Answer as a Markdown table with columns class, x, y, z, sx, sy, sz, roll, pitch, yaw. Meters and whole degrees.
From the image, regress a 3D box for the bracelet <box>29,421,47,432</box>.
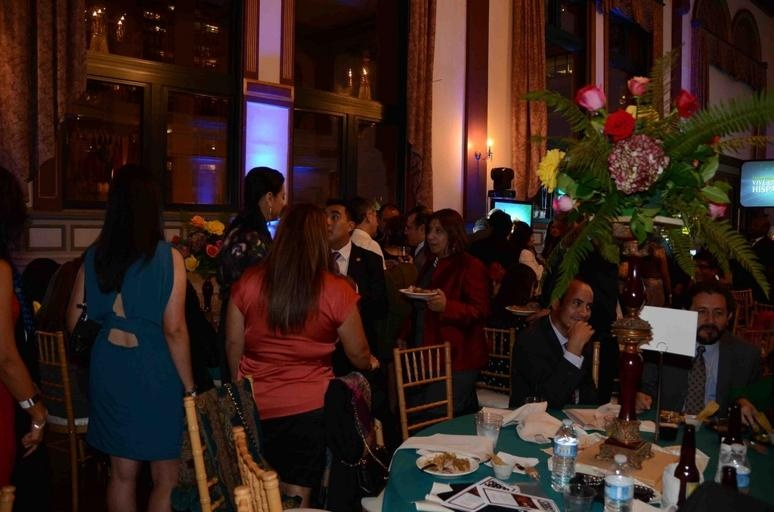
| class | x | y | z | sx | sy | sz | roll | pitch | yaw |
| --- | --- | --- | --- | --- | --- | --- | --- | --- | --- |
| bracelet | -1.790 | 0.866 | 3.073 | 0.050 | 0.039 | 0.052 | -6 | -7 | -9 |

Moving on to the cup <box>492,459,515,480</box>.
| class | x | y | z | sx | sy | sz | roll | pitch | yaw |
| --- | --- | --- | --- | --- | --- | --- | --- | --- | --- |
| cup | 0.528 | 0.956 | 2.734 | 0.082 | 0.060 | 0.081 | 2 | 1 | 0 |

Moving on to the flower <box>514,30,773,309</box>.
| class | x | y | z | sx | sy | sz | roll | pitch | yaw |
| --- | --- | --- | --- | --- | --- | --- | --- | --- | --- |
| flower | 1.201 | -0.382 | 2.737 | 1.055 | 0.966 | 0.419 | -1 | -1 | 8 |

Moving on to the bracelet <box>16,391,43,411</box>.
| class | x | y | z | sx | sy | sz | roll | pitch | yaw |
| --- | --- | --- | --- | --- | --- | --- | --- | --- | --- |
| bracelet | -1.820 | 0.726 | 3.051 | 0.093 | 0.038 | 0.091 | -26 | 2 | -12 |

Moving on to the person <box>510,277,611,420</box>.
| class | x | y | z | sx | sy | sz | roll | pitch | yaw |
| --- | --- | --- | --- | --- | --- | --- | --- | --- | --- |
| person | 1.106 | 0.595 | 3.725 | 0.504 | 1.224 | 0.472 | 11 | 24 | 42 |

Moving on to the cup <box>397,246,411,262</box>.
| class | x | y | z | sx | sy | sz | roll | pitch | yaw |
| --- | --- | --- | --- | --- | --- | --- | --- | --- | --- |
| cup | 0.181 | -0.023 | 6.488 | 0.187 | 0.191 | 0.347 | 5 | -3 | 5 |

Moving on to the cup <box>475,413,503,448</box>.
| class | x | y | z | sx | sy | sz | roll | pitch | yaw |
| --- | --- | --- | --- | --- | --- | --- | --- | --- | --- |
| cup | 0.495 | 0.865 | 3.026 | 0.145 | 0.156 | 0.137 | 2 | -1 | 0 |

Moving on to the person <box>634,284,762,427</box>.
| class | x | y | z | sx | sy | sz | roll | pitch | yaw |
| --- | --- | --- | --- | --- | --- | --- | --- | --- | --- |
| person | 1.714 | 0.566 | 3.346 | 0.625 | 0.891 | 0.516 | 6 | -6 | 31 |

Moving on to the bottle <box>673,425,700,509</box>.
| class | x | y | z | sx | sy | sz | roll | pitch | yaw |
| --- | --- | --- | --- | --- | --- | --- | --- | --- | --- |
| bottle | 1.224 | 0.834 | 2.442 | 0.095 | 0.303 | 0.231 | -2 | -1 | 27 |
